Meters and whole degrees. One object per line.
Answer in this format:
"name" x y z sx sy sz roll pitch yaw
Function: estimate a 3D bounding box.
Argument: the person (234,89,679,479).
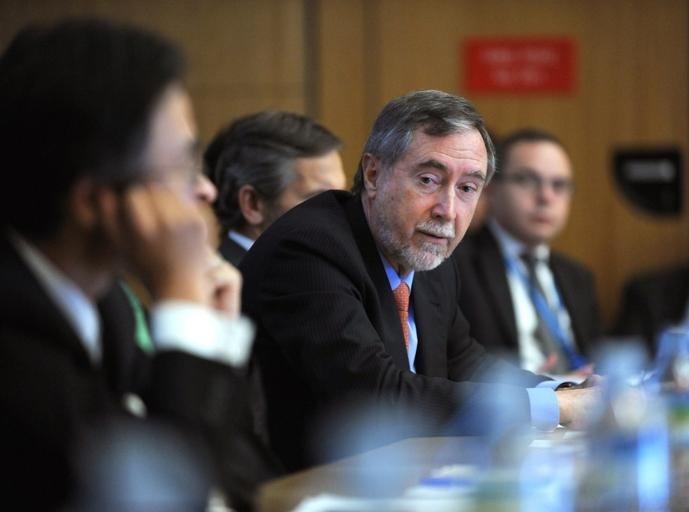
"person" 0.425 0.162 2.002 0.878 1.475 0.598 1 -8 24
